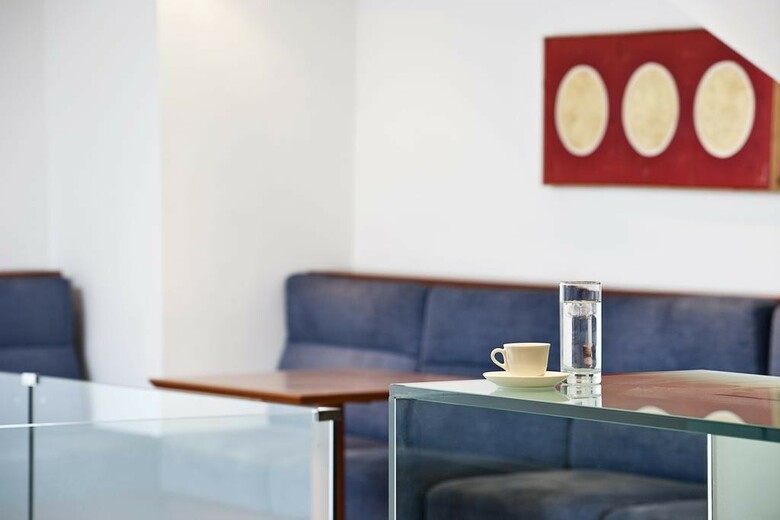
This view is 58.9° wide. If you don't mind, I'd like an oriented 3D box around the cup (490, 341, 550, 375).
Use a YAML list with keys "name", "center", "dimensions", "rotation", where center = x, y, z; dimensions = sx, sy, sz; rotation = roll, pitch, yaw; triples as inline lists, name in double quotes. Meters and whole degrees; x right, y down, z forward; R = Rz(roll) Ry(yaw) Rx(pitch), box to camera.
- name: "cup"
  center: [0.251, 0.184, 1.330]
  dimensions: [0.105, 0.063, 0.083]
  rotation: [0, -2, 14]
